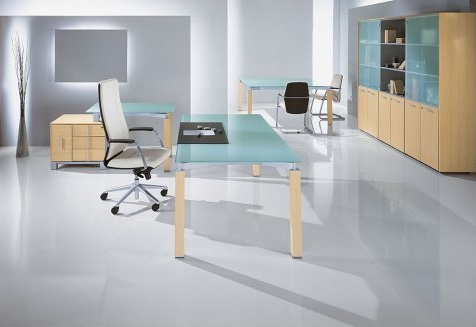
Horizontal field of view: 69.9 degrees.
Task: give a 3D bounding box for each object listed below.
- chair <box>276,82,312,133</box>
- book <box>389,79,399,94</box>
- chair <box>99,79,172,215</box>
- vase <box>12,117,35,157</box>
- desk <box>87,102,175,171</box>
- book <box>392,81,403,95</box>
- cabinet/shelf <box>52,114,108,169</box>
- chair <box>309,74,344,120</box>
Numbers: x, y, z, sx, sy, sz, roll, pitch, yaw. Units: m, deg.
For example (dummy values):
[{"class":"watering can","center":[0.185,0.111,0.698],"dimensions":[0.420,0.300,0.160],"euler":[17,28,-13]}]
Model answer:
[{"class":"chair","center":[1.432,-1.451,8.646],"dimensions":[0.849,1.297,0.993],"euler":[0,-3,13]},{"class":"book","center":[3.558,-1.730,7.764],"dimensions":[0.328,0.313,0.175],"euler":[-1,14,0]},{"class":"chair","center":[-1.447,-0.248,4.853],"dimensions":[0.985,1.692,1.031],"euler":[8,14,16]},{"class":"vase","center":[-4.554,-0.556,7.214],"dimensions":[0.252,0.851,0.314],"euler":[-8,11,-32]},{"class":"desk","center":[-1.802,-0.487,6.645],"dimensions":[1.282,0.892,1.227],"euler":[0,-1,-12]},{"class":"book","center":[3.624,-1.708,7.720],"dimensions":[0.306,0.291,0.071],"euler":[3,-12,-5]},{"class":"cabinet/shelf","center":[-3.083,-0.470,6.949],"dimensions":[0.978,0.877,1.030],"euler":[0,8,-6]},{"class":"chair","center":[2.850,-2.144,10.842],"dimensions":[0.924,1.341,1.052],"euler":[-4,16,-12]}]
